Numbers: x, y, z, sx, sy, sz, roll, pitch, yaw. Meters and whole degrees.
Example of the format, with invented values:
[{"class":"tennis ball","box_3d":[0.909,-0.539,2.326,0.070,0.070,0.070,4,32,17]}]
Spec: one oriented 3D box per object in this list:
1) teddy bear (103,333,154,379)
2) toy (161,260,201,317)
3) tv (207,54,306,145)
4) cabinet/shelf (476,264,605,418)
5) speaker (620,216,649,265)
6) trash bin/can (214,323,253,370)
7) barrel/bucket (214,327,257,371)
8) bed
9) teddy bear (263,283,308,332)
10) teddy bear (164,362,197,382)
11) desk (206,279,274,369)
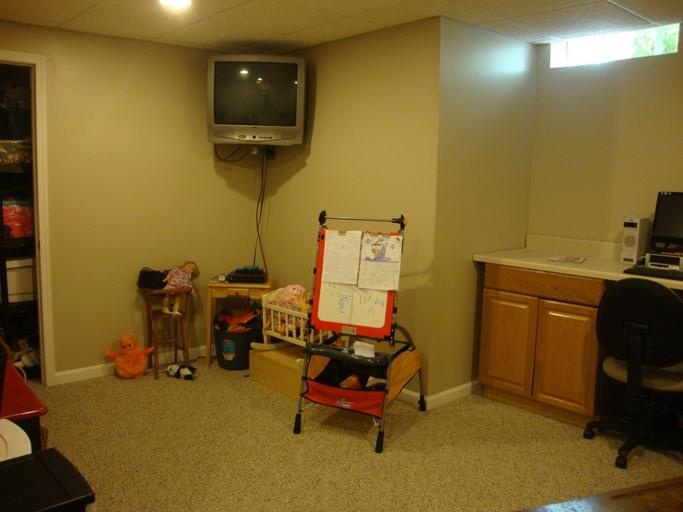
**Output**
[{"class":"teddy bear","box_3d":[-1.773,0.850,4.610,0.380,0.374,0.204,-4,9,-30]},{"class":"toy","box_3d":[-1.413,0.258,4.830,0.263,0.400,0.452,-1,14,-5]},{"class":"tv","box_3d":[-0.655,-1.232,4.915,1.066,0.986,0.645,1,5,4]},{"class":"cabinet/shelf","box_3d":[1.473,0.596,3.973,0.906,1.257,0.608,8,10,44]},{"class":"speaker","box_3d":[2.161,-0.131,4.045,0.167,0.324,0.244,8,16,28]},{"class":"trash bin/can","box_3d":[-0.943,0.776,4.914,0.356,0.363,0.317,-6,11,-39]},{"class":"barrel/bucket","box_3d":[-0.931,0.793,4.937,0.332,0.351,0.346,1,4,0]},{"class":"bed","box_3d":[-0.412,0.622,4.805,0.608,0.561,0.862,4,-3,-7]},{"class":"teddy bear","box_3d":[-0.441,0.379,4.472,0.304,0.266,0.390,-5,13,-18]},{"class":"teddy bear","box_3d":[-1.356,0.959,4.654,0.300,0.087,0.183,14,19,42]},{"class":"desk","box_3d":[-0.954,0.534,5.039,0.586,0.678,0.566,5,6,9]}]
